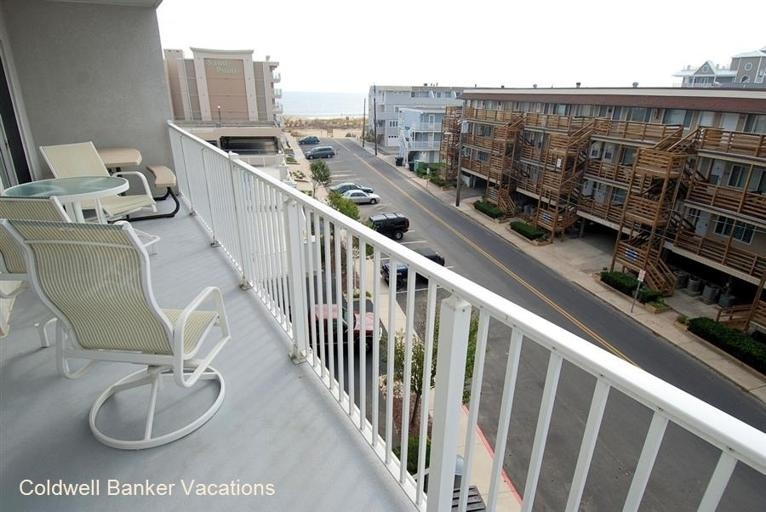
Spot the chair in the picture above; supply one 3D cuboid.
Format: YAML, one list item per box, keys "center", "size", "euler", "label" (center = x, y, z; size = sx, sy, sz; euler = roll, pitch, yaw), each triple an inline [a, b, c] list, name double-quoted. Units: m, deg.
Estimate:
- center: [-1.910, 0.507, 3.580]
  size: [1.122, 1.781, 0.899]
  euler: [16, 29, 27]
  label: "chair"

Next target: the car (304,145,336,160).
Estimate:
- center: [-5.281, -8.852, 40.134]
  size: [2.743, 1.079, 1.516]
  euler: [1, 30, -12]
  label: "car"

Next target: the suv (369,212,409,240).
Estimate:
- center: [0.317, -1.474, 20.939]
  size: [2.113, 1.043, 1.138]
  euler: [0, 36, -16]
  label: "suv"

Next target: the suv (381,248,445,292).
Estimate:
- center: [1.215, 0.473, 16.312]
  size: [2.234, 1.190, 1.267]
  euler: [-4, 31, -17]
  label: "suv"

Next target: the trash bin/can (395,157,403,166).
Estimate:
- center: [1.454, -7.425, 36.990]
  size: [0.638, 0.762, 0.635]
  euler: [3, 24, 8]
  label: "trash bin/can"

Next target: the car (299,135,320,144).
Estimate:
- center: [-7.190, -11.375, 46.314]
  size: [1.898, 0.645, 1.031]
  euler: [-1, 24, -11]
  label: "car"

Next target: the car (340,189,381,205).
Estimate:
- center: [-1.148, -3.434, 26.301]
  size: [2.379, 0.737, 1.057]
  euler: [-7, 37, -18]
  label: "car"

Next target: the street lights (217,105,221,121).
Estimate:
- center: [-10.362, -9.203, 29.745]
  size: [0.200, 0.669, 0.509]
  euler: [-2, 25, -8]
  label: "street lights"
